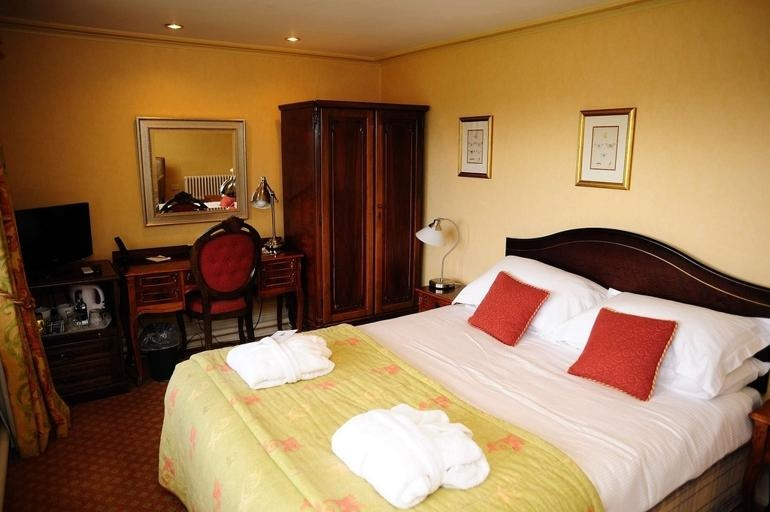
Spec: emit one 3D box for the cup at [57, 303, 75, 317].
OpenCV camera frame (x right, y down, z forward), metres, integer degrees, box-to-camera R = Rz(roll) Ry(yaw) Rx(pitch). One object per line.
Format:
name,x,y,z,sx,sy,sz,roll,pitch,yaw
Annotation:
cup,-2.648,0.455,4.264,0.096,0.092,0.127,1,16,-21

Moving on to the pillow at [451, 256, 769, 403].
pillow,1.675,0.464,3.574,0.613,0.526,1.528,-12,19,-40

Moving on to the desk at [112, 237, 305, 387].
desk,-1.574,0.449,4.370,1.199,0.852,0.462,-6,12,-32

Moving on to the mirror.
mirror,-1.895,-0.837,4.928,1.069,1.102,0.056,-7,16,-28

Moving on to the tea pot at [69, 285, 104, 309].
tea pot,-2.486,0.345,4.365,0.271,0.291,0.156,1,9,-18

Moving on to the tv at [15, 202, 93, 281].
tv,-2.697,-0.112,4.160,0.146,0.423,0.565,7,17,21

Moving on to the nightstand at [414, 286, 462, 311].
nightstand,0.515,0.398,4.804,0.236,0.339,0.340,-5,9,-29

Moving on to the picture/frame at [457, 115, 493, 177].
picture/frame,0.842,-1.033,4.753,0.049,0.618,0.516,-8,15,-35

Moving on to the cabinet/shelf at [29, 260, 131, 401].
cabinet/shelf,-2.568,0.614,4.387,0.642,1.041,0.743,-9,18,-34

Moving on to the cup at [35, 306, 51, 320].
cup,-2.799,0.468,4.185,0.106,0.083,0.109,15,13,-3
